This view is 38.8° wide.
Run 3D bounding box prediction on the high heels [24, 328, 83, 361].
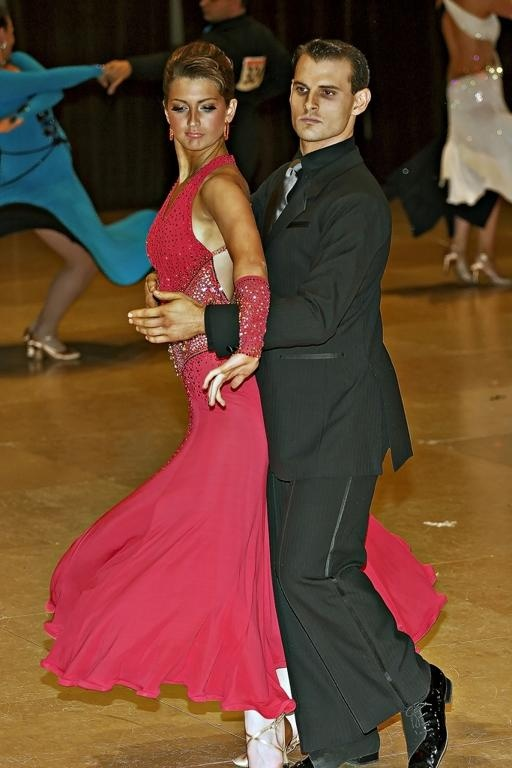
[{"bbox_3d":[-1.481,-0.273,5.259,0.451,0.198,0.181,2,15,2],"label":"high heels"}]
